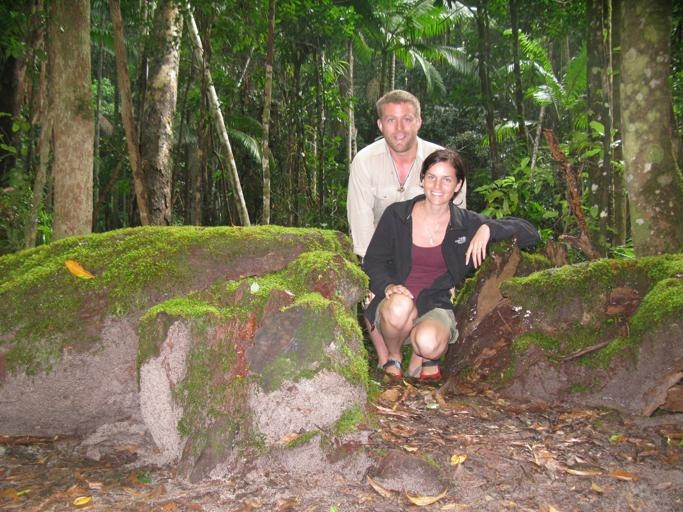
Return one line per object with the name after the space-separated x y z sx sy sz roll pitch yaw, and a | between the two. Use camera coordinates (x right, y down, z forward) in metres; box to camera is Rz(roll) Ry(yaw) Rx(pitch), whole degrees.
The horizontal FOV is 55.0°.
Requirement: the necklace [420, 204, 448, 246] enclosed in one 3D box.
0.949 -0.319 6.611 0.204 0.411 0.091 5 6 6 | necklace
